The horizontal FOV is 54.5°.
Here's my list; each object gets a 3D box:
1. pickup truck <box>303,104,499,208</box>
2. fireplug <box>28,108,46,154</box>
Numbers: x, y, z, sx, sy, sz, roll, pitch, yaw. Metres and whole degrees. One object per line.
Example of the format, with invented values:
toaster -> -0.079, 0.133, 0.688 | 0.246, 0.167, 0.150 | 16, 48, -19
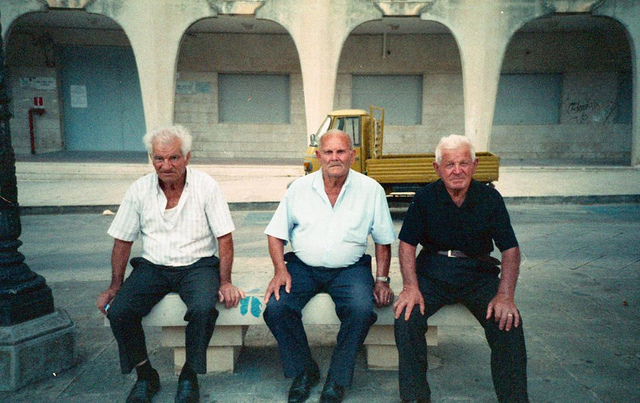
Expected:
pickup truck -> 1.652, -1.138, 15.992 | 5.492, 2.642, 2.285 | 1, 6, 3
fireplug -> -12.087, -3.014, 26.434 | 0.577, 1.903, 0.237 | -5, 12, -23
